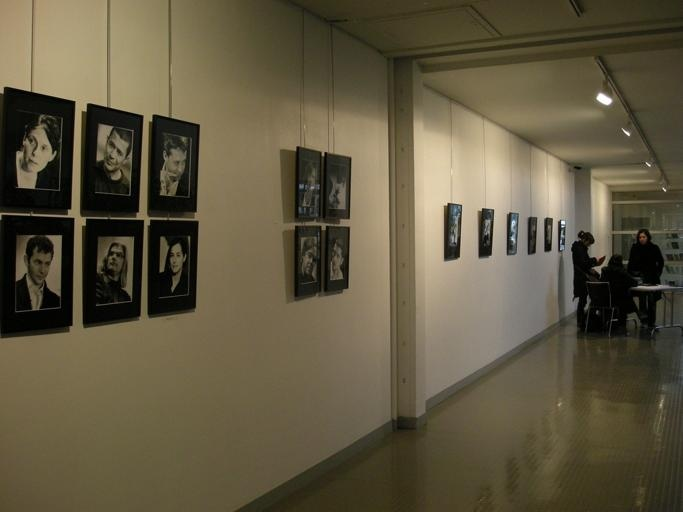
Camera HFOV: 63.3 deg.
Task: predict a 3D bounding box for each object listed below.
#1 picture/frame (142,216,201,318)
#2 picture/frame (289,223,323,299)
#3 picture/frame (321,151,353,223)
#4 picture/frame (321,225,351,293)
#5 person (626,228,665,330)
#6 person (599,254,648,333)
[{"bbox_3d":[-1.167,0.068,3.764,0.063,0.937,0.601,3,4,29],"label":"picture/frame"},{"bbox_3d":[-0.321,0.041,4.924,0.051,0.872,0.577,0,-2,25],"label":"picture/frame"},{"bbox_3d":[-0.052,-0.657,5.279,0.027,0.769,0.597,-1,-2,24],"label":"picture/frame"},{"bbox_3d":[-0.064,0.021,5.273,0.063,0.767,0.580,3,2,26],"label":"picture/frame"},{"bbox_3d":[7.253,0.573,13.164,0.713,2.502,0.777,-1,23,32],"label":"person"},{"bbox_3d":[5.990,0.687,11.843,0.602,1.578,0.659,-8,17,27],"label":"person"}]
